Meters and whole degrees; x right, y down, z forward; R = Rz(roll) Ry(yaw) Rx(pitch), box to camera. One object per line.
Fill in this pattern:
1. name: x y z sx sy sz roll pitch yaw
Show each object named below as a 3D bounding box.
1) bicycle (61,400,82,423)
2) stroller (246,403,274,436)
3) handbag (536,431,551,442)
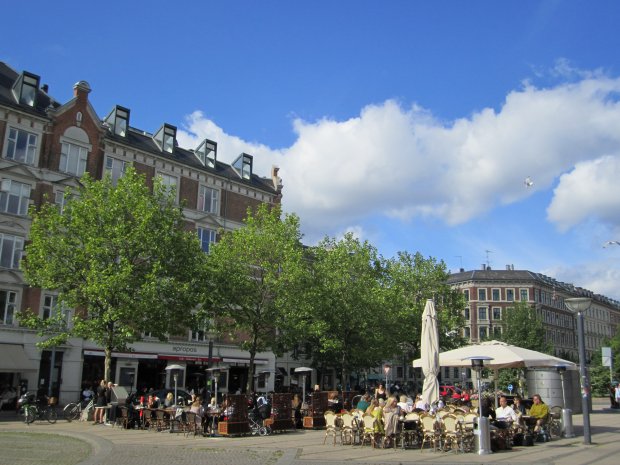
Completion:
1. bicycle: -12.163 9.214 30.464 1.048 0.865 0.671 16 -23 -41
2. stroller: -2.205 8.266 25.994 1.140 1.190 0.896 -8 -16 36
3. handbag: 9.172 8.073 23.442 0.434 0.433 0.364 -1 -9 12
